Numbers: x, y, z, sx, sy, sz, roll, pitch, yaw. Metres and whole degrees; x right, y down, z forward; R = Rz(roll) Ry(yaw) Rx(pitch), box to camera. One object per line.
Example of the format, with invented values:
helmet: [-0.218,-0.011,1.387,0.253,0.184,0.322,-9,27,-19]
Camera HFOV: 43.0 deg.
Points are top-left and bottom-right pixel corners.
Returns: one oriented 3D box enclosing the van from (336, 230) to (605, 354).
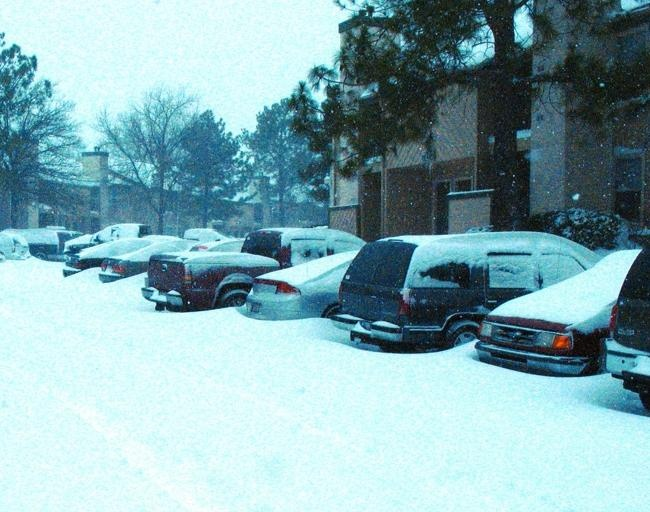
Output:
van: [1.885,0.263,11.600,2.892,1.298,1.586,-9,7,-22]

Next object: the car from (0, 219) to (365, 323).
car: [-1.410,0.176,14.677,3.146,1.339,1.815,-5,5,-29]
